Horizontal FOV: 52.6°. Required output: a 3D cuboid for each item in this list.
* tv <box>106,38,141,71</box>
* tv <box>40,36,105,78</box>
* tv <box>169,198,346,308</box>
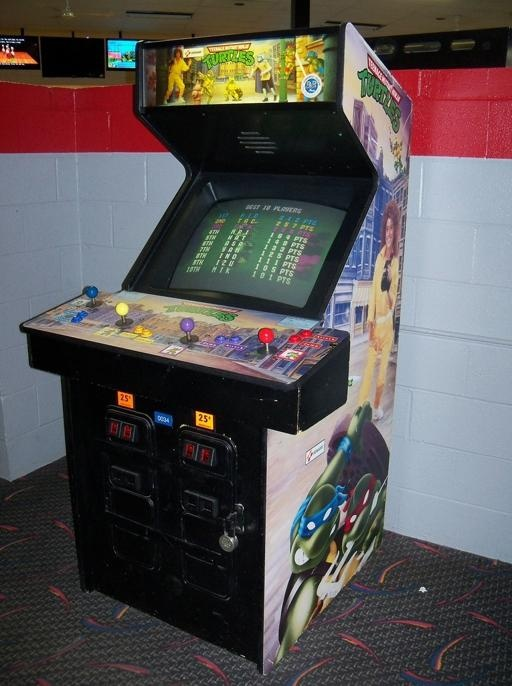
[{"bbox_3d":[-2.587,-5.522,9.914,0.612,0.518,0.388,1,9,0],"label":"tv"},{"bbox_3d":[-3.511,-5.441,9.819,0.861,0.567,0.114,0,22,-5],"label":"tv"},{"bbox_3d":[0.010,-0.224,1.328,0.340,0.227,0.016,14,-23,36],"label":"tv"}]
